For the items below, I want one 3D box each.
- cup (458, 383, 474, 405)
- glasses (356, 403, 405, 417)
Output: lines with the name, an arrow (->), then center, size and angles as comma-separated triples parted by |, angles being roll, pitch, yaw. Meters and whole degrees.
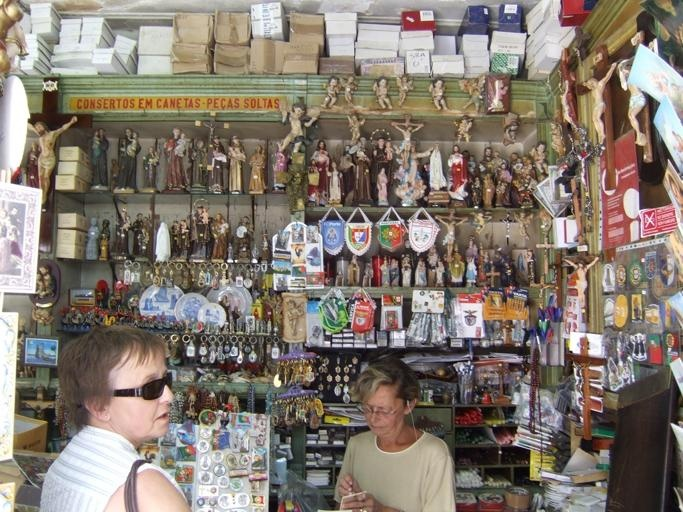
cup -> 0.993, 1.108, 6.785 | 0.126, 0.166, 0.126 | 1, -13, 0
glasses -> 0.222, 0.939, 5.112 | 0.236, 0.071, 0.065 | 0, -4, 21
